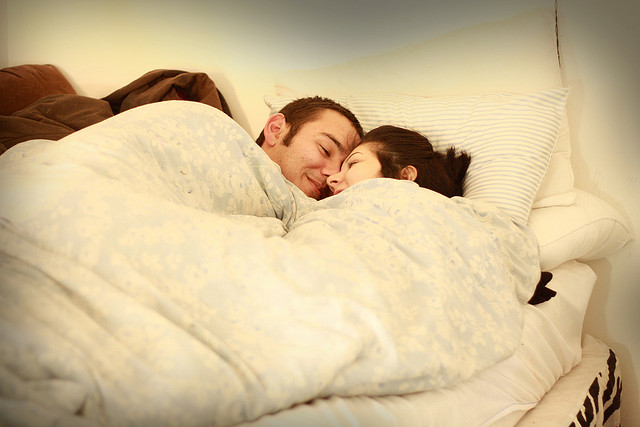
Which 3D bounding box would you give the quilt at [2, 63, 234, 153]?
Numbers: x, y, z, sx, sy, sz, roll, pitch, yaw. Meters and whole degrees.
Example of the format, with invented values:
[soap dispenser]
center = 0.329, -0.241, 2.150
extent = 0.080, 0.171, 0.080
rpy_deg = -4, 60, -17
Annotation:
[quilt]
center = -0.700, -0.355, 1.576
extent = 0.601, 0.246, 0.530
rpy_deg = 19, 24, 31
